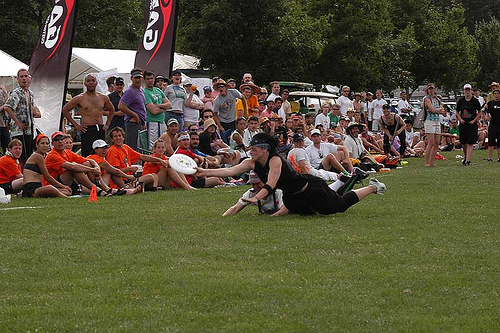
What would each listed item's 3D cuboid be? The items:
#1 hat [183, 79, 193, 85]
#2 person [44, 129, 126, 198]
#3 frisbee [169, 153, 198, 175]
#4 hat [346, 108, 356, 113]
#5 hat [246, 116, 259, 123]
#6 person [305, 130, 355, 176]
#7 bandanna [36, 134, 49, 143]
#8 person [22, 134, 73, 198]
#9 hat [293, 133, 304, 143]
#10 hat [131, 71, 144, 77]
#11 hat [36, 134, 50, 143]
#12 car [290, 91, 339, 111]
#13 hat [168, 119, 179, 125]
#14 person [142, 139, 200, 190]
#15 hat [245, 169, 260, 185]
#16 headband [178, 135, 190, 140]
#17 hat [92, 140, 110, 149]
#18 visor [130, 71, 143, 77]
[{"bbox_3d":[-1.840,-2.442,23.353,0.234,0.102,0.337,0,5,-19],"label":"hat"},{"bbox_3d":[-3.939,-0.016,18.975,2.152,1.320,0.910,8,10,20],"label":"person"},{"bbox_3d":[-1.407,-0.006,16.955,0.492,0.122,0.494,33,26,23],"label":"frisbee"},{"bbox_3d":[3.456,-1.907,27.546,0.369,0.150,0.496,0,-1,5],"label":"hat"},{"bbox_3d":[0.076,-1.244,21.715,0.309,0.134,0.334,0,1,2],"label":"hat"},{"bbox_3d":[2.205,-0.337,21.406,1.565,0.993,0.909,8,13,28],"label":"person"},{"bbox_3d":[-4.817,-0.629,18.533,0.195,0.162,0.188,-12,23,-31],"label":"bandanna"},{"bbox_3d":[-4.567,0.001,18.784,1.324,1.417,1.201,8,13,26],"label":"person"},{"bbox_3d":[1.138,-0.643,18.793,0.243,0.162,0.252,4,2,3],"label":"hat"},{"bbox_3d":[-2.960,-2.400,20.988,0.308,0.131,0.395,-1,3,-15],"label":"hat"},{"bbox_3d":[-4.816,-0.645,18.543,0.243,0.201,0.227,0,-10,-9],"label":"hat"},{"bbox_3d":[2.708,-2.960,38.909,2.181,0.943,1.438,1,8,-1],"label":"car"},{"bbox_3d":[-1.989,-1.133,20.724,0.224,0.149,0.417,3,2,-6],"label":"hat"},{"bbox_3d":[-1.958,0.027,19.813,1.464,1.263,0.667,3,1,26],"label":"person"},{"bbox_3d":[0.097,0.209,16.460,0.222,0.220,0.433,4,2,1],"label":"hat"},{"bbox_3d":[-1.641,-0.708,20.109,0.274,0.123,0.186,3,2,-14],"label":"headband"},{"bbox_3d":[-3.631,-0.516,19.440,0.327,0.209,0.271,3,2,-11],"label":"hat"},{"bbox_3d":[-2.949,-2.394,20.986,0.267,0.161,0.255,3,2,-17],"label":"visor"}]
